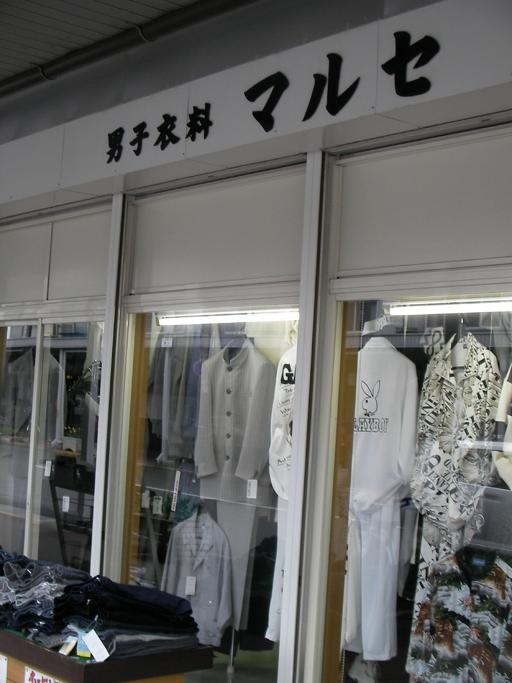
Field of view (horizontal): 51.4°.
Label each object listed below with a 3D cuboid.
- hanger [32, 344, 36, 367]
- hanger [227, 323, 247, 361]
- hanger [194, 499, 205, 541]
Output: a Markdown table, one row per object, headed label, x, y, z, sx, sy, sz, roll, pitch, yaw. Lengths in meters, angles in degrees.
| label | x | y | z | sx | sy | sz | roll | pitch | yaw |
| --- | --- | --- | --- | --- | --- | --- | --- | --- | --- |
| hanger | -1.513 | 0.107 | 3.629 | 0.016 | 0.137 | 0.075 | 7 | -6 | -38 |
| hanger | -0.095 | 0.011 | 2.523 | 0.045 | 0.170 | 0.142 | 5 | -5 | -27 |
| hanger | -0.282 | 0.887 | 2.616 | 0.071 | 0.194 | 0.006 | -1 | -6 | 38 |
